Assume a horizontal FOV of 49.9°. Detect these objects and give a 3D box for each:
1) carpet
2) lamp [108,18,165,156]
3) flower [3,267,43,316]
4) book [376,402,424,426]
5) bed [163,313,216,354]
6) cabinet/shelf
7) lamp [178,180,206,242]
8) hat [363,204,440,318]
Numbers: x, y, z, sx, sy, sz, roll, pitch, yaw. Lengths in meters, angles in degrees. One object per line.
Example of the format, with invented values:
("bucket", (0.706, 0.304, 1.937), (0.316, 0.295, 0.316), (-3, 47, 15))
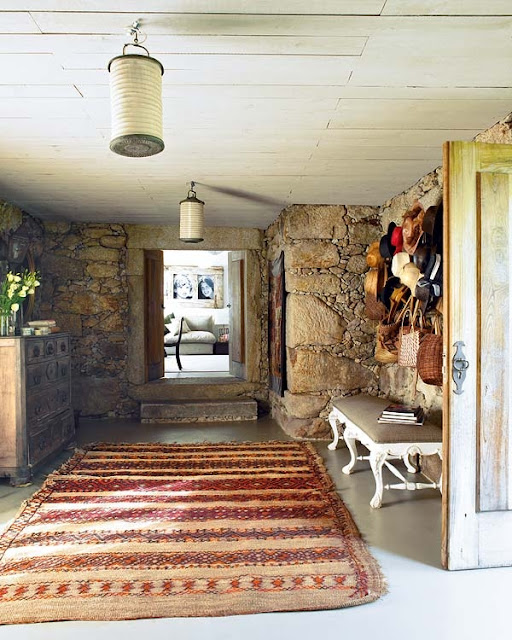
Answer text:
("carpet", (-0.414, 1.100, 3.194), (1.900, 0.048, 2.078), (0, 3, -3))
("lamp", (-0.446, -0.793, 2.064), (0.191, 0.316, 0.235), (-1, 3, -12))
("flower", (-1.902, -0.226, 4.449), (0.252, 0.352, 1.155), (-1, 3, -24))
("book", (0.916, 0.606, 3.537), (0.283, 0.080, 0.317), (1, 3, 11))
("bed", (-1.203, 0.290, 10.123), (0.888, 0.754, 1.849), (0, 3, 1))
("cabinet/shelf", (-1.559, 0.641, 3.921), (0.461, 0.931, 1.050), (-1, 4, -10))
("lamp", (-0.457, -0.720, 3.648), (0.175, 0.371, 0.167), (5, 13, -33))
("hat", (1.023, -0.352, 3.804), (0.648, 0.639, 0.267), (-6, 19, 15))
